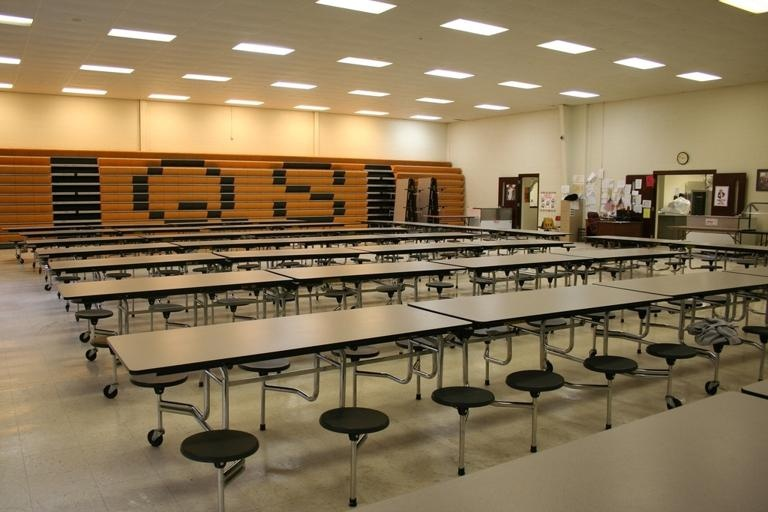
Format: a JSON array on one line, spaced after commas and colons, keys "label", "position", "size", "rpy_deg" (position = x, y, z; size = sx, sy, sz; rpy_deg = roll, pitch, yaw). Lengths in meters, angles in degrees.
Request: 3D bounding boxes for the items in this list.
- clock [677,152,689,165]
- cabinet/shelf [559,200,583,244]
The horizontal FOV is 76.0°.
[{"label": "clock", "position": [9.001, -2.944, 14.828], "size": [0.051, 0.407, 0.347], "rpy_deg": [-8, 9, -36]}, {"label": "cabinet/shelf", "position": [6.484, -1.207, 17.138], "size": [0.737, 1.332, 0.711], "rpy_deg": [3, 10, 29]}]
